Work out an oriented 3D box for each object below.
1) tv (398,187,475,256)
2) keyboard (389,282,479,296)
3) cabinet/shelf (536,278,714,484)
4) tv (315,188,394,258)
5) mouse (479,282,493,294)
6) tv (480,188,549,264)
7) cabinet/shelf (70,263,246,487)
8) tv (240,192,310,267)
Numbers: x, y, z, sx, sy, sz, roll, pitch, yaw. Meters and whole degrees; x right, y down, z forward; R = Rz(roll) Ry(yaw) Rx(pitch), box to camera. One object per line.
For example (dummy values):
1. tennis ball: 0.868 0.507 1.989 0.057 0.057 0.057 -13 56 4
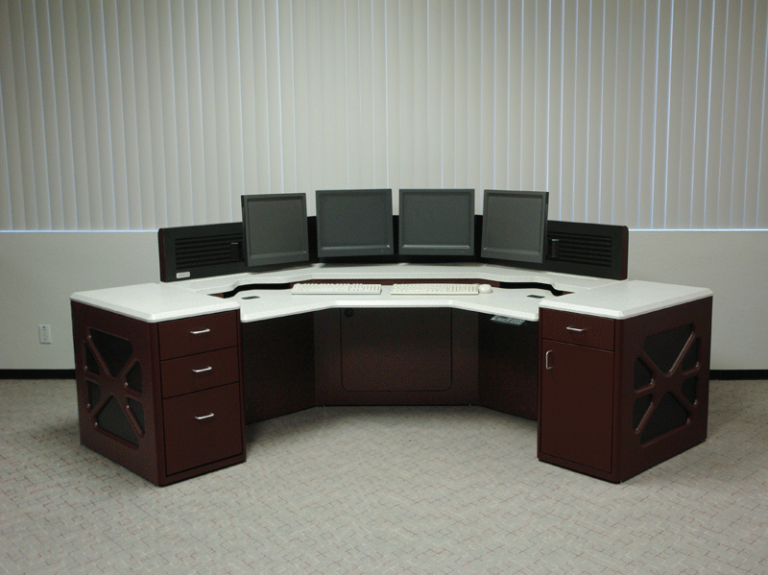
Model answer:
1. tv: 0.379 -0.461 4.068 0.422 0.405 0.045 0 9 3
2. keyboard: 0.323 0.017 3.630 0.555 0.042 0.185 0 10 6
3. cabinet/shelf: 1.395 0.577 3.455 0.589 0.900 1.011 -2 -4 -13
4. tv: -0.213 -0.453 4.079 0.433 0.424 0.047 -1 6 -5
5. mouse: 0.657 0.012 3.625 0.148 0.045 0.074 -7 12 -32
6. tv: 0.900 -0.409 3.921 0.438 0.458 0.046 9 12 41
7. cabinet/shelf: -1.358 0.542 3.454 0.912 0.950 0.607 6 9 40
8. tv: -0.760 -0.389 3.948 0.439 0.456 0.062 -7 7 -30
